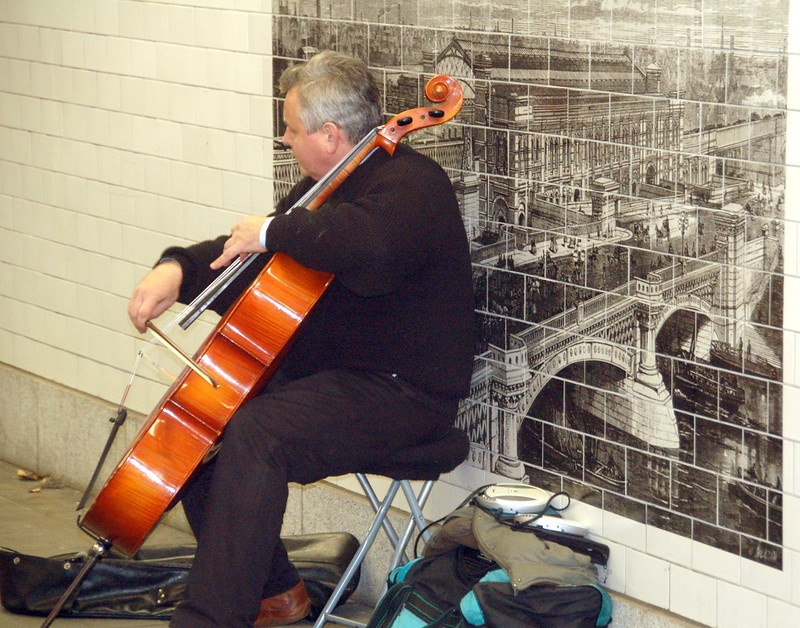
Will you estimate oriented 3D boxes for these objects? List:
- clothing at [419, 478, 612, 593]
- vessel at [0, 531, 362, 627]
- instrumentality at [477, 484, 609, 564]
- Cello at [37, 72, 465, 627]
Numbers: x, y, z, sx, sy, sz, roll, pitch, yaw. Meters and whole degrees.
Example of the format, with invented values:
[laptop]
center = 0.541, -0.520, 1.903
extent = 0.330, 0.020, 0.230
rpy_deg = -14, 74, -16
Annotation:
[clothing]
center = 0.401, 0.691, 3.771
extent = 0.336, 0.149, 0.426
rpy_deg = 12, 6, 43
[vessel]
center = -0.823, 0.939, 4.307
extent = 0.890, 0.251, 0.495
rpy_deg = -4, 4, -15
[instrumentality]
center = 0.467, 0.662, 3.896
extent = 0.324, 0.081, 0.259
rpy_deg = 25, -3, 8
[Cello]
center = -0.457, 0.116, 4.148
extent = 0.384, 2.183, 0.387
rpy_deg = 26, -7, 35
